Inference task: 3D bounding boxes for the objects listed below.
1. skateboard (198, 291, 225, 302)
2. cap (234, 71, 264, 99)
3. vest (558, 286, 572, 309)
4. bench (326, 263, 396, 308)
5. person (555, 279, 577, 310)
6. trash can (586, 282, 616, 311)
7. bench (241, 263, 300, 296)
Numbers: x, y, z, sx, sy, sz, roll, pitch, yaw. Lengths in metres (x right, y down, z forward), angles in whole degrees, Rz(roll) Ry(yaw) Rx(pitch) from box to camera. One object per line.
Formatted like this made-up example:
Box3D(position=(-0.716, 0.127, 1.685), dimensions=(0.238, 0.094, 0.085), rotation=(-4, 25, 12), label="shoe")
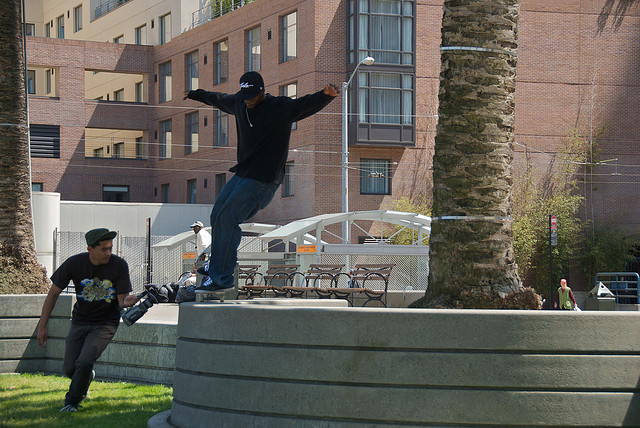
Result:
Box3D(position=(-2.408, 1.831, 25.280), dimensions=(0.566, 0.250, 0.357), rotation=(-2, 7, -6), label="skateboard")
Box3D(position=(-1.563, -2.914, 25.062), dimensions=(0.611, 0.478, 0.953), rotation=(9, 23, 33), label="cap")
Box3D(position=(8.936, 3.083, 40.800), dimensions=(0.446, 0.707, 1.077), rotation=(0, 7, 12), label="vest")
Box3D(position=(1.565, 2.549, 37.516), dimensions=(1.470, 1.656, 1.392), rotation=(1, 5, 24), label="bench")
Box3D(position=(8.994, 2.994, 40.910), dimensions=(0.511, 1.156, 1.341), rotation=(-1, 7, 5), label="person")
Box3D(position=(10.223, 3.003, 40.960), dimensions=(0.847, 1.138, 1.247), rotation=(-1, 11, -8), label="trash can")
Box3D(position=(-1.760, 2.277, 40.361), dimensions=(1.127, 0.911, 1.767), rotation=(5, -7, -39), label="bench")
